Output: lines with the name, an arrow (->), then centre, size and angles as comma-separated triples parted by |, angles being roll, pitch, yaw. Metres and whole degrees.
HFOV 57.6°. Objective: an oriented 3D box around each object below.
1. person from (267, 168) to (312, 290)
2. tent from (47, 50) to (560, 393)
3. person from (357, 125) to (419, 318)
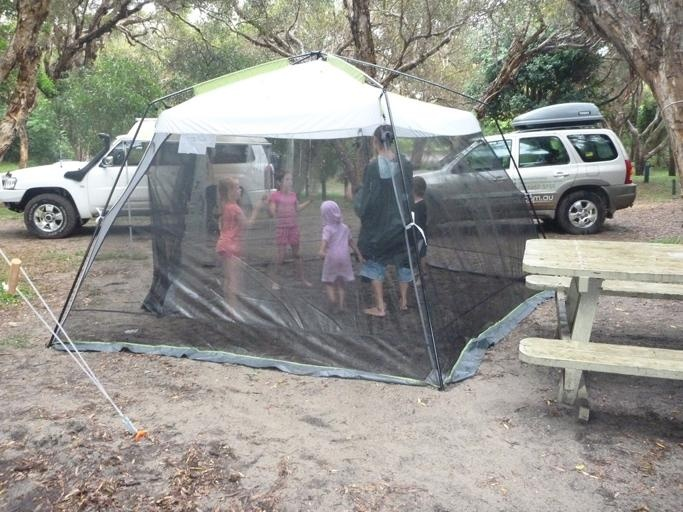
person -> -0.504, -0.332, 6.226 | 0.389, 0.997, 0.127 | -3, 10, -2
tent -> -0.071, -0.322, 7.219 | 3.902, 2.517, 3.931 | 5, 10, 33
person -> 0.412, -0.328, 5.995 | 0.541, 1.849, 0.237 | -1, 10, 14
